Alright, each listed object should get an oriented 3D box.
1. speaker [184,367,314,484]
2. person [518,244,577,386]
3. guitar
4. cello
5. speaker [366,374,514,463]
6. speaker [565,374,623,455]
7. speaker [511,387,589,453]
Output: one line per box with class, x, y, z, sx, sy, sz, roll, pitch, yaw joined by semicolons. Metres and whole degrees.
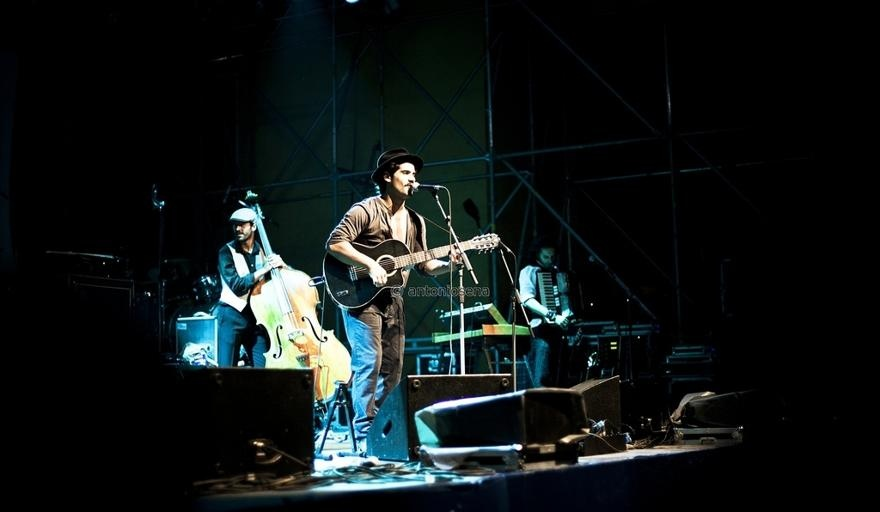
speaker;-1.556;1.365;6.938;0.869;0.847;0.911;-1;-6;5
person;1.563;0.847;12.157;0.836;2.088;0.557;8;-15;-41
guitar;-0.303;0.105;8.389;1.868;0.758;0.192;-12;-3;-16
cello;-1.946;0.476;10.357;0.973;2.534;0.497;-13;20;5
speaker;-0.025;1.517;7.581;1.176;0.803;0.797;6;-8;-42
speaker;1.578;1.525;7.952;0.716;0.968;0.575;-2;-6;7
speaker;0.914;1.311;6.766;0.504;0.454;0.520;-5;-7;39
